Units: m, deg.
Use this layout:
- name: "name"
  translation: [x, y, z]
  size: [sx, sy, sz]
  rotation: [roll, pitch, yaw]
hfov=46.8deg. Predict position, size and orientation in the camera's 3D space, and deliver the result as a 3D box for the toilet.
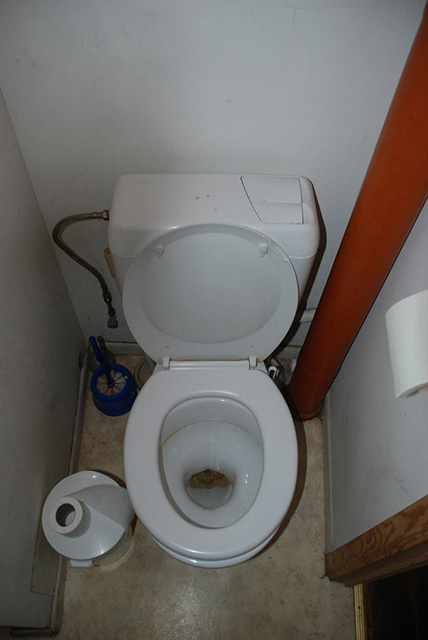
- name: "toilet"
  translation: [-0.013, 0.085, 1.093]
  size: [0.363, 0.746, 0.754]
  rotation: [2, 74, 2]
